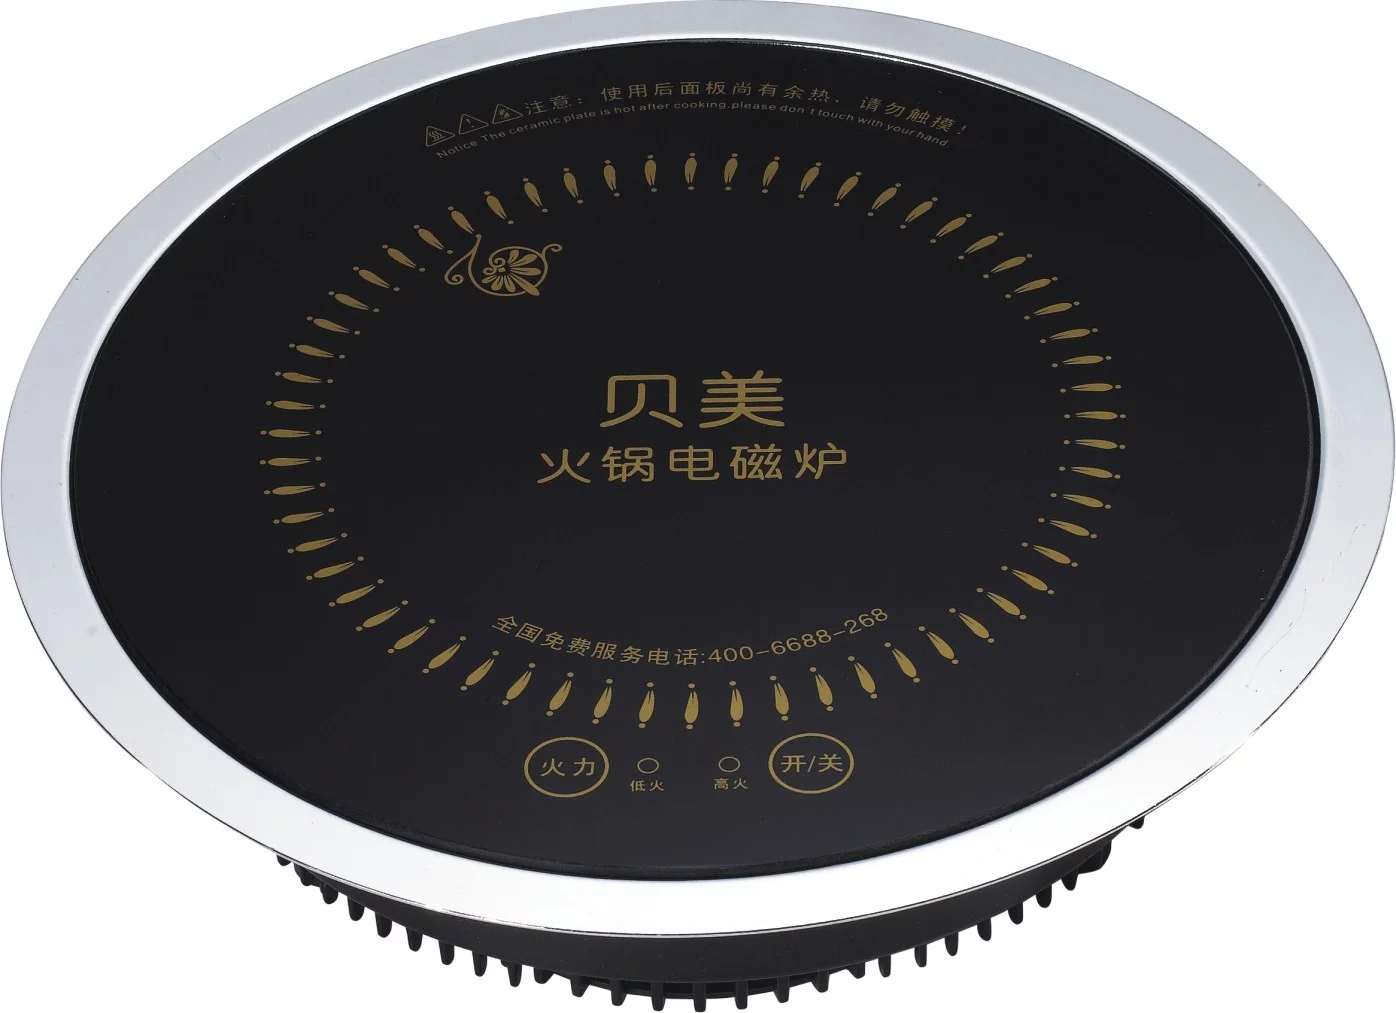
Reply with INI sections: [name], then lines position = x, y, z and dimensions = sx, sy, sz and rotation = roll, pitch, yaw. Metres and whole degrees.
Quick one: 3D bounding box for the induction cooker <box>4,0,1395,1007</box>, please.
[induction cooker]
position = 0.035, -0.043, 2.617
dimensions = 2.281, 0.654, 1.401
rotation = -14, 86, -1
